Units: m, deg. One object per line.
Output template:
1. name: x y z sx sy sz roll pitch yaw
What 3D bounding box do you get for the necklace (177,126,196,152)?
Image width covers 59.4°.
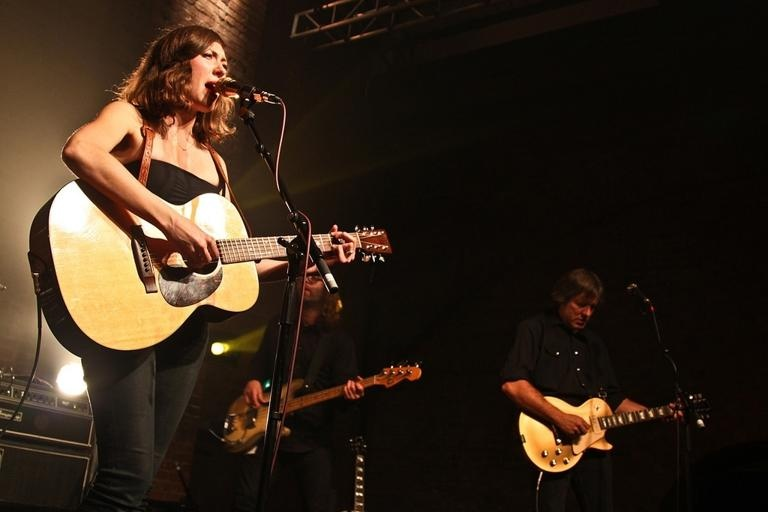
1. necklace: -1.410 -0.843 4.821 0.045 0.148 0.144 -9 -19 28

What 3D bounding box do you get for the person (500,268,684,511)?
1. person: 2.074 1.385 6.570 1.311 2.803 0.904 20 -39 -13
